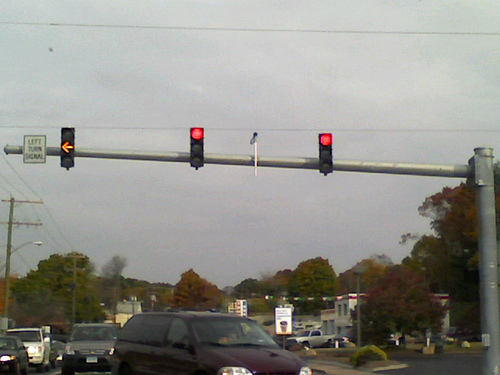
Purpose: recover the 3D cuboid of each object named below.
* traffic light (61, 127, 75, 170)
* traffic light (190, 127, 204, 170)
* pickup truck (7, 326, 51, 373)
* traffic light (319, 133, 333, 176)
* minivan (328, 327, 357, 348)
[{"bbox_3d":[-11.473,-2.490,67.559,0.766,2.740,0.688,1,-7,0],"label":"traffic light"},{"bbox_3d":[-3.310,-2.509,67.381,0.850,2.551,0.610,2,-12,-3],"label":"traffic light"},{"bbox_3d":[-15.050,11.299,75.011,1.902,2.003,3.748,-1,-17,-1],"label":"pickup truck"},{"bbox_3d":[4.771,-2.098,67.240,0.848,2.686,0.654,1,-12,4],"label":"traffic light"},{"bbox_3d":[9.528,14.405,103.515,2.997,1.614,1.905,-1,-11,19],"label":"minivan"}]
